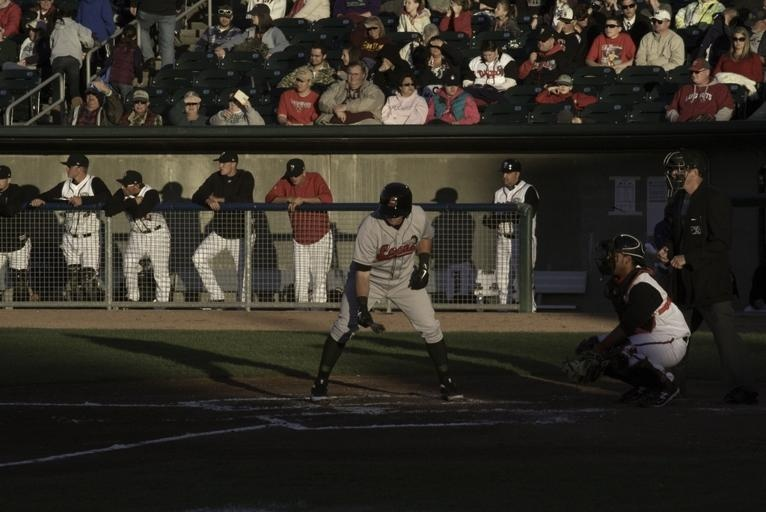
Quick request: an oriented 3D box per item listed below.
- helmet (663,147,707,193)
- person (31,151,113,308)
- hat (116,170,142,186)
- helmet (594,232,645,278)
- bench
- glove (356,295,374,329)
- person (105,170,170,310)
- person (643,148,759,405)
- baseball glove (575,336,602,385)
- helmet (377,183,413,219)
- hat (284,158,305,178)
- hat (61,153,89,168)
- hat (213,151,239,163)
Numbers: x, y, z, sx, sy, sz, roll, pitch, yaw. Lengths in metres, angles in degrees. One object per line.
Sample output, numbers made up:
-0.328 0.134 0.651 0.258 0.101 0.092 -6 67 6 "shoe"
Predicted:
3.473 -1.022 16.171 0.585 0.475 0.402 10 0 -2 "helmet"
-4.800 -0.470 21.289 0.986 2.116 1.201 -3 15 -11 "person"
-3.950 -1.206 21.133 0.418 0.187 0.263 6 4 -5 "hat"
2.816 -0.037 16.194 0.606 0.422 0.424 3 6 9 "helmet"
2.511 0.435 21.689 2.165 0.577 0.766 0 -3 3 "bench"
-0.229 0.654 16.059 0.180 0.372 0.326 -1 14 -5 "glove"
-3.759 -0.149 20.958 0.945 1.619 0.652 0 15 1 "person"
3.833 0.221 16.055 1.339 2.857 0.561 11 19 35 "person"
2.406 1.219 16.103 0.229 0.491 0.339 18 -2 -25 "baseball glove"
0.144 -0.674 16.181 0.357 0.339 0.475 5 7 23 "helmet"
-1.382 -1.371 21.005 0.262 0.170 0.344 1 16 18 "hat"
-4.905 -1.513 21.516 0.409 0.173 0.262 9 5 -5 "hat"
-2.504 -1.543 21.392 0.354 0.151 0.236 6 -1 -20 "hat"
